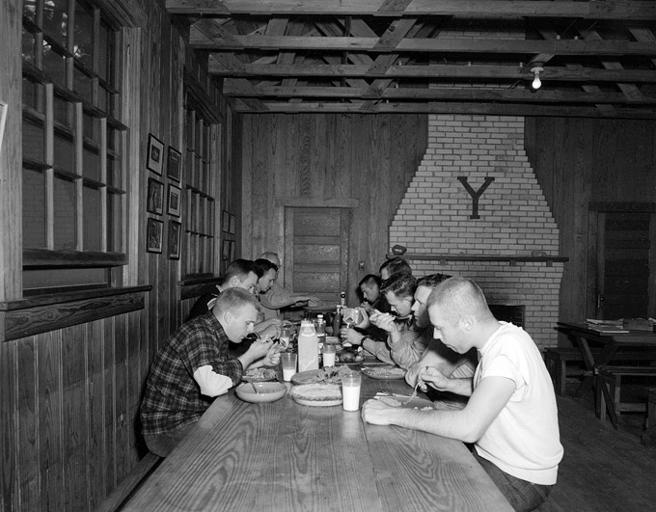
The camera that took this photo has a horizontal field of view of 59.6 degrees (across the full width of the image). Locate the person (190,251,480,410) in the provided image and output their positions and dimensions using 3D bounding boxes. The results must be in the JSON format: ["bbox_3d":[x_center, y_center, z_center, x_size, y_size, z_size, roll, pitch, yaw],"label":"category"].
[{"bbox_3d":[0.128,0.557,3.792,1.347,0.621,1.054,8,-12,3],"label":"person"}]

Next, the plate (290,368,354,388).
[{"bbox_3d":[-0.043,0.691,3.257,0.242,0.048,0.156,-9,-1,-3],"label":"plate"}]

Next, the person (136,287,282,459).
[{"bbox_3d":[-0.729,0.958,3.451,0.759,1.441,0.675,5,6,-23],"label":"person"}]
